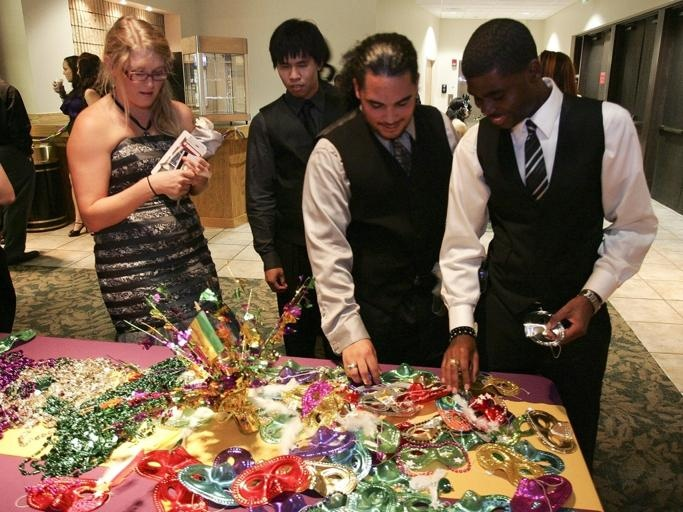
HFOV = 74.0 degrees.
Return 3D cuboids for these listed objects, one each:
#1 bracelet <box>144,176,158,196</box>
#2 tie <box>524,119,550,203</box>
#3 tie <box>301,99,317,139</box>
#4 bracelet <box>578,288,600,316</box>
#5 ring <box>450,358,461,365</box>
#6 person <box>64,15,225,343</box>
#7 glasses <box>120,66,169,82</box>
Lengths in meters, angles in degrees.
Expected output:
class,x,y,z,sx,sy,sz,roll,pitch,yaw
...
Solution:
class,x,y,z,sx,sy,sz,roll,pitch,yaw
bracelet,-0.709,-0.263,1.707,0.014,0.059,0.061,-22,28,-2
tie,0.605,-0.302,1.414,0.069,0.234,0.089,1,19,9
tie,-0.160,-0.709,2.349,0.056,0.248,0.064,-9,6,0
bracelet,0.760,0.137,1.386,0.065,0.070,0.068,-6,10,-23
ring,0.330,0.312,1.324,0.019,0.012,0.034,-1,-4,17
person,-0.727,-0.295,1.775,0.445,1.196,0.522,13,24,38
glasses,-0.718,-0.685,1.709,0.083,0.047,0.169,8,22,27
